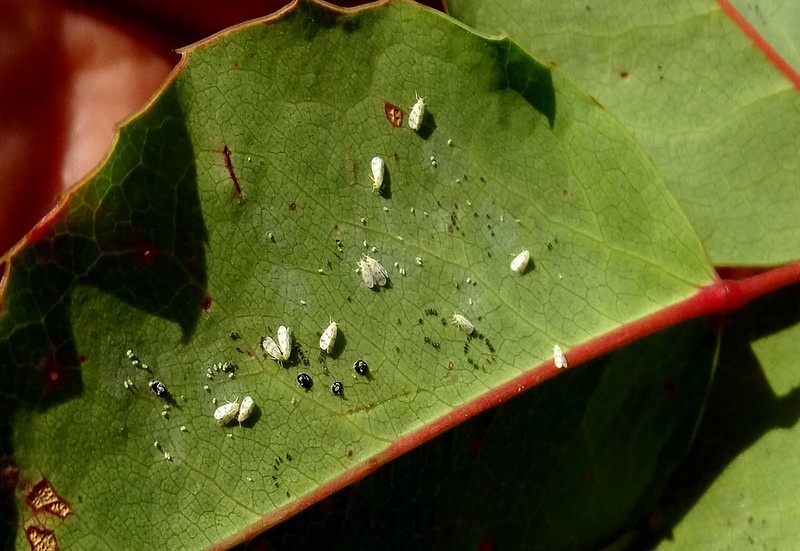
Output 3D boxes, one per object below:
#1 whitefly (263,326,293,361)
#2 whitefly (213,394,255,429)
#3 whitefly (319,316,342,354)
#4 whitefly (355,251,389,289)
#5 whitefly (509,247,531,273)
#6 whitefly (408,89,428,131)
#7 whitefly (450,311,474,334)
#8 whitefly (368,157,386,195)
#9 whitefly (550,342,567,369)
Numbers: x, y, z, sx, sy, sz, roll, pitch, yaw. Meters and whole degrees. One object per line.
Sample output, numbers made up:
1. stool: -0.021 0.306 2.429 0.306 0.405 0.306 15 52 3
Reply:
1. whitefly: -0.572 0.331 4.493 0.142 0.137 0.079 -20 38 -18
2. whitefly: -0.776 0.647 4.483 0.198 0.089 0.066 -15 37 -12
3. whitefly: -0.330 0.283 4.532 0.088 0.043 0.166 22 64 -11
4. whitefly: -0.143 -0.025 4.465 0.127 0.162 0.041 -26 3 5
5. whitefly: 0.567 -0.070 4.497 0.076 0.106 0.040 32 0 2
6. whitefly: 0.086 -0.777 4.466 0.077 0.160 0.038 12 6 -11
7. whitefly: 0.292 0.230 4.515 0.100 0.032 0.077 46 63 -1
8. whitefly: -0.097 -0.484 4.470 0.085 0.145 0.034 -4 7 -26
9. whitefly: 0.734 0.369 4.463 0.057 0.102 0.030 -4 -11 18
